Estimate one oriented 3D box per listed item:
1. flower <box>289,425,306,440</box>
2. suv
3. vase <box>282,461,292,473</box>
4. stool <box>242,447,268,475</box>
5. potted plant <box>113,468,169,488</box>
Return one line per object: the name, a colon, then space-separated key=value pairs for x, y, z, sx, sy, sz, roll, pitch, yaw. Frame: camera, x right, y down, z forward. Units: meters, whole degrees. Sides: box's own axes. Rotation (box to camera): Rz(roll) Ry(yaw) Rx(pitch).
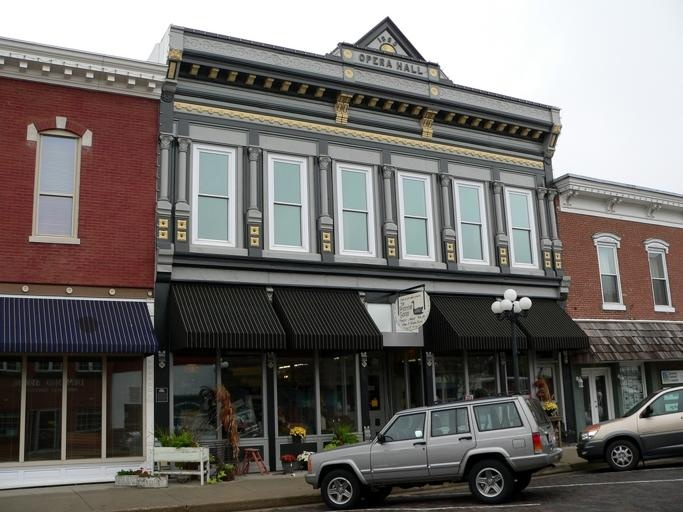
flower: x=-1.351 y=5.211 z=22.216 sx=0.389 sy=0.207 sz=0.418 roll=6 pitch=-7 yaw=-10
suv: x=2.196 y=4.695 z=18.129 sx=5.624 sy=2.375 sz=2.660 roll=-5 pitch=-16 yaw=18
vase: x=-1.586 y=6.059 z=21.564 sx=0.313 sy=0.318 sz=0.263 roll=11 pitch=-19 yaw=-38
stool: x=-2.580 y=5.938 z=21.690 sx=0.607 sy=0.549 sz=0.299 roll=10 pitch=-37 yaw=-27
potted plant: x=-5.378 y=5.832 z=19.626 sx=1.503 sy=0.543 sz=0.479 roll=-9 pitch=-16 yaw=14
